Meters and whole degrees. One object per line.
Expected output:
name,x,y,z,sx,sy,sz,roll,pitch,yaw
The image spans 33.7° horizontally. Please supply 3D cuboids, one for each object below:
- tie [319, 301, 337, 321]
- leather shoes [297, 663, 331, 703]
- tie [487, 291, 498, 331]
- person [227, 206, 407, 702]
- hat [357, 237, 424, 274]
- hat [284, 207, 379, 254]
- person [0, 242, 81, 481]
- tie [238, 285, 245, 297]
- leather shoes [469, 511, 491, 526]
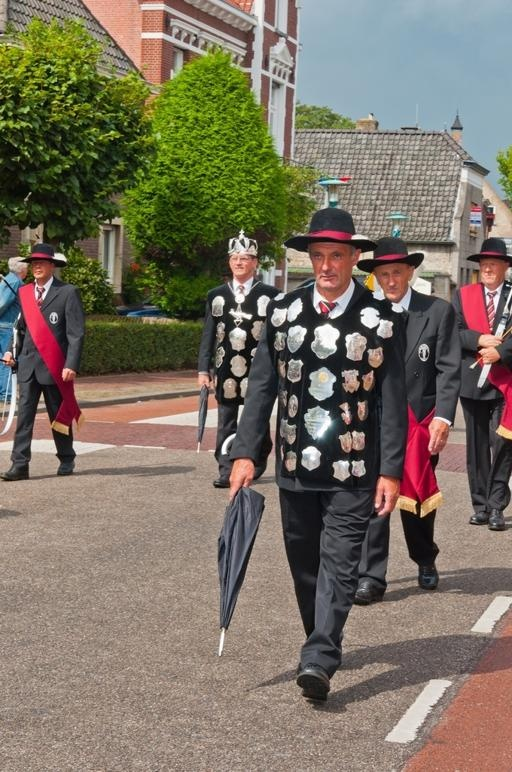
tie,0.251,-0.260,2.940,0.063,0.054,0.019,7,-9,33
leather shoes,0.185,0.979,2.814,0.103,0.070,0.170,5,-38,8
tie,1.947,-0.613,6.959,0.061,0.322,0.048,-1,-12,21
person,0.208,0.232,3.020,0.512,1.174,0.484,5,2,43
hat,0.734,-0.709,4.612,0.332,0.112,0.332,-3,-8,9
hat,0.267,-0.568,2.993,0.308,0.179,0.340,3,1,4
person,-2.043,-0.236,8.149,0.747,2.243,0.634,3,2,-11
tie,-0.135,-0.904,8.069,0.070,0.076,0.030,1,-5,-7
leather shoes,1.812,1.071,6.849,0.075,0.084,0.217,0,-11,32
